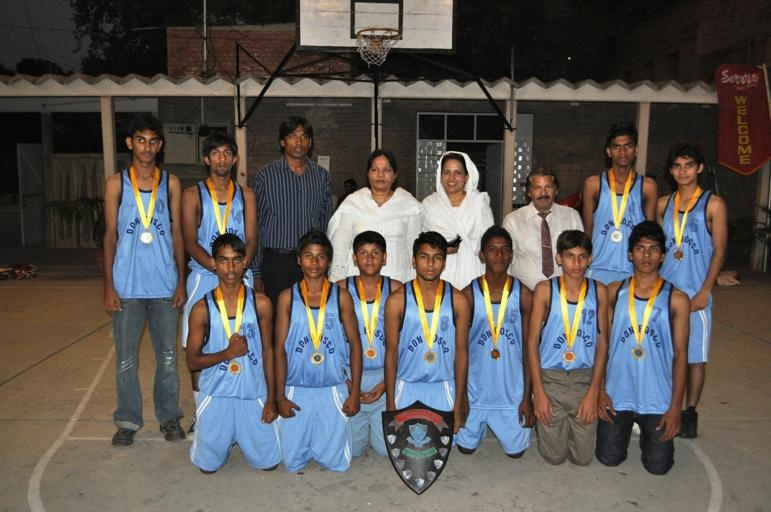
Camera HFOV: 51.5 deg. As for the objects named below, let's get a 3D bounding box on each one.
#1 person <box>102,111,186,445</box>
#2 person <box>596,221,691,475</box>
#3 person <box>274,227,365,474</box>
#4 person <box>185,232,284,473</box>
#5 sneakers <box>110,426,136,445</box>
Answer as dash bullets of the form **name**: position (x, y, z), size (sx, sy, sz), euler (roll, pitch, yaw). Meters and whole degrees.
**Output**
- **person**: position (-2.831, 0.283, 9.429), size (0.915, 3.888, 0.623), euler (-3, 8, -20)
- **person**: position (2.981, 1.042, 9.209), size (0.931, 2.832, 0.727), euler (3, 8, 20)
- **person**: position (-0.764, 1.109, 9.142), size (0.982, 2.700, 0.538), euler (-1, 8, -9)
- **person**: position (-1.734, 1.205, 9.231), size (1.149, 2.831, 0.981), euler (-3, 15, -16)
- **sneakers**: position (-3.091, 2.154, 9.408), size (0.129, 0.143, 0.332), euler (2, -12, 2)
